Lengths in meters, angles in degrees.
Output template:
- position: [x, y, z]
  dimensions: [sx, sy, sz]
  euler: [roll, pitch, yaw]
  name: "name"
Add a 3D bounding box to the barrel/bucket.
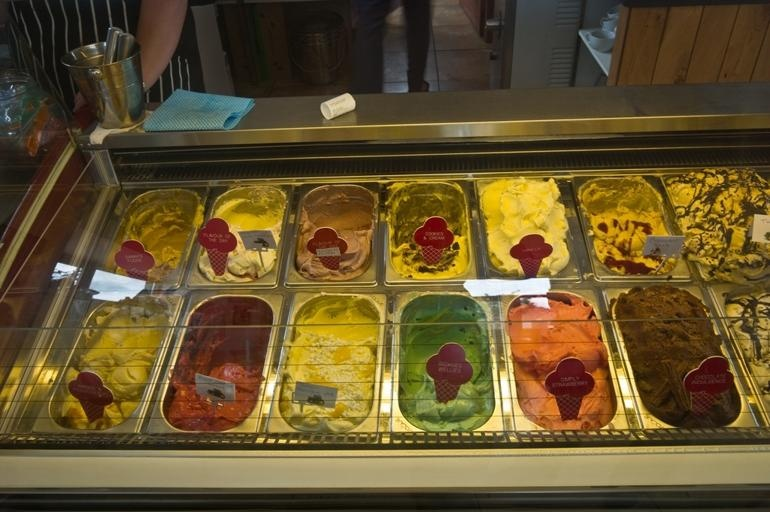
- position: [-1.059, -0.607, 1.834]
  dimensions: [0.310, 0.217, 0.249]
  euler: [-6, 30, -5]
  name: "barrel/bucket"
